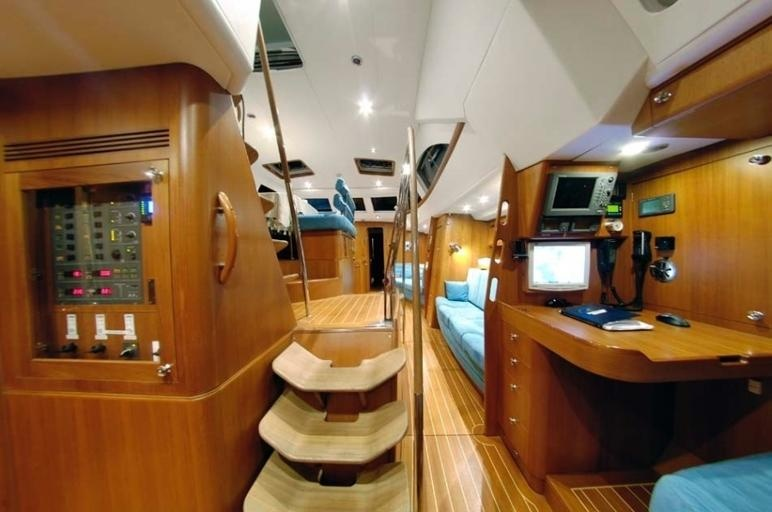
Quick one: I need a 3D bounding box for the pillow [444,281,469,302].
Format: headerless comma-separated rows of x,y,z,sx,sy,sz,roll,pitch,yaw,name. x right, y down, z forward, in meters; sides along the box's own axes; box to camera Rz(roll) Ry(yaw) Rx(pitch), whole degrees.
0.945,0.444,7.107,0.394,0.368,0.217,0,-4,22,pillow

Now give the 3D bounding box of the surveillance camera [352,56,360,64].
-0.266,-1.858,5.085,0.093,0.048,0.117,-1,2,-3,surveillance camera

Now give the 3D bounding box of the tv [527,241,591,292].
1.396,0.067,4.524,0.661,0.569,0.368,1,-1,6,tv
